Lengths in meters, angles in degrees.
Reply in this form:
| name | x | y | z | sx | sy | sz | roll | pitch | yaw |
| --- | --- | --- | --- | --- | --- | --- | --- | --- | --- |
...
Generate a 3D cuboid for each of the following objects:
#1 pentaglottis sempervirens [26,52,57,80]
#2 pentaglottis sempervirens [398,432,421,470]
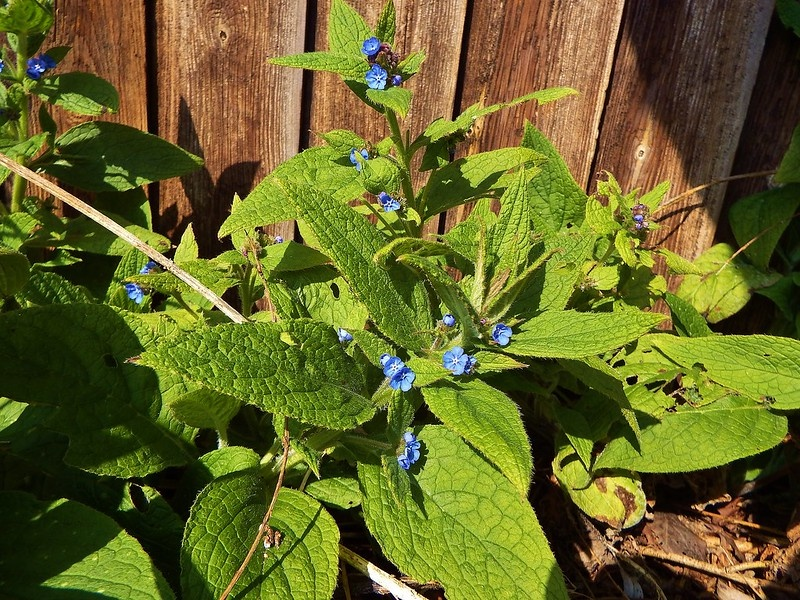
| name | x | y | z | sx | sy | sz | roll | pitch | yaw |
| --- | --- | --- | --- | --- | --- | --- | --- | --- | --- |
| pentaglottis sempervirens | -1.383 | -0.896 | 2.924 | 0.066 | 0.091 | 0.111 | 20 | 27 | 25 |
| pentaglottis sempervirens | 0.028 | 0.495 | 2.474 | 0.063 | 0.126 | 0.086 | 10 | 24 | 6 |
